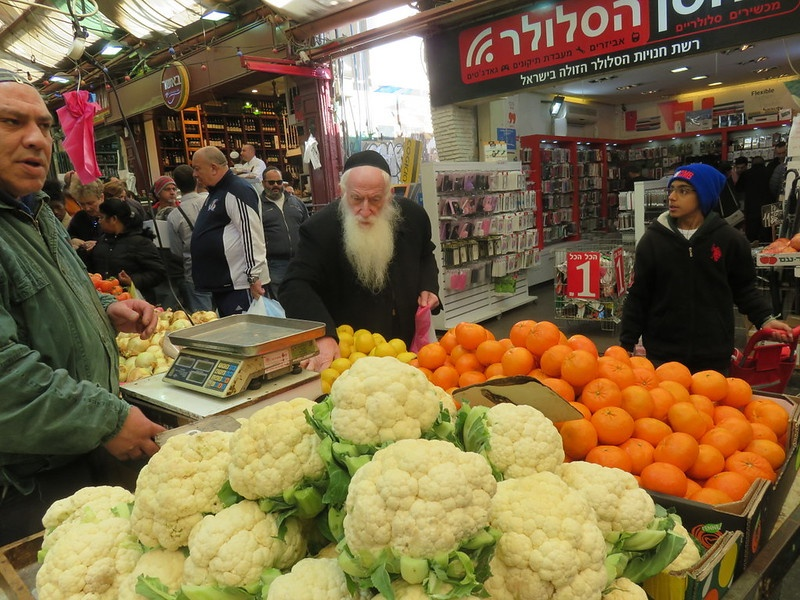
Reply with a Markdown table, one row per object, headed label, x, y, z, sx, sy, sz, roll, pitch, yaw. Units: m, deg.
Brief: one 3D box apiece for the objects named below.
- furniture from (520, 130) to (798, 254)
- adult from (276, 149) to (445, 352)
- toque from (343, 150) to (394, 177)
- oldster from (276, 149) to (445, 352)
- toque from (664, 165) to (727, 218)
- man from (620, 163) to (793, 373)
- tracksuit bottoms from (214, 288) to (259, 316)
| label | x | y | z | sx | sy | sz | roll | pitch | yaw |
| --- | --- | --- | --- | --- | --- | --- | --- | --- | --- |
| furniture | 5.204 | -2.897 | 11.992 | 4.105 | 1.766 | 4.372 | 5 | 16 | 42 |
| adult | -0.222 | -0.282 | 3.193 | 1.027 | 1.191 | 0.551 | -8 | 18 | -14 |
| toque | -0.205 | -0.821 | 3.156 | 0.268 | 0.150 | 0.322 | -5 | 18 | -4 |
| oldster | -0.222 | -0.281 | 3.191 | 1.028 | 1.191 | 0.555 | -8 | 18 | -14 |
| toque | 1.939 | -0.719 | 3.365 | 0.398 | 0.315 | 0.185 | -12 | 19 | -25 |
| man | 1.879 | -0.174 | 3.330 | 0.821 | 1.319 | 0.521 | 4 | 19 | 24 |
| tracksuit bottoms | -1.335 | -0.002 | 4.292 | 0.213 | 0.223 | 0.128 | -4 | 1 | 8 |
